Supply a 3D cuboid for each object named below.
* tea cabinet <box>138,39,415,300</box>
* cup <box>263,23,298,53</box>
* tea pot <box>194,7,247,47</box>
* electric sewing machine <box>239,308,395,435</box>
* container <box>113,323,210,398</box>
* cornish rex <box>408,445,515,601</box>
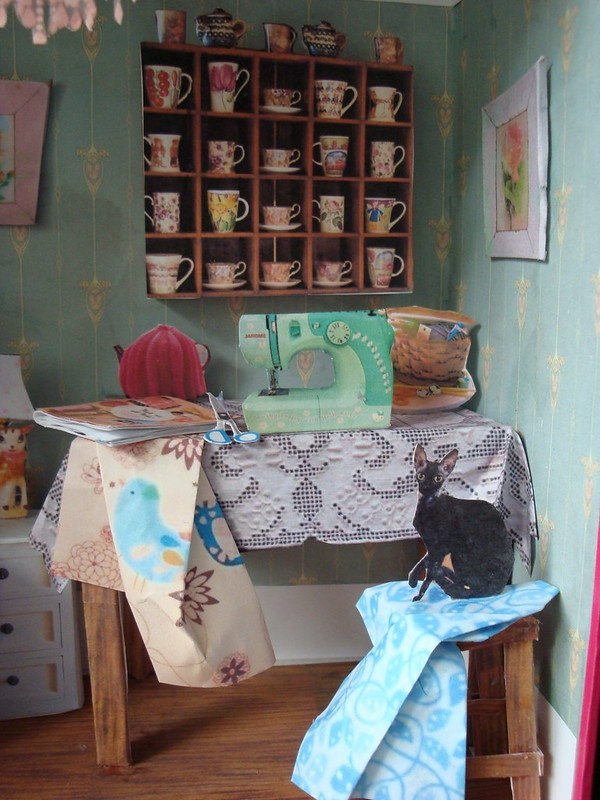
[{"bbox_3d":[-0.053,-0.712,2.307,0.748,0.779,0.202,-6,20,-19],"label":"tea cabinet"},{"bbox_3d":[-0.057,-1.048,2.183,0.105,0.085,0.078,-11,38,-17],"label":"cup"},{"bbox_3d":[-0.226,-1.051,2.144,0.134,0.093,0.100,-15,38,-29],"label":"tea pot"},{"bbox_3d":[0.035,-0.083,1.940,0.401,0.307,0.150,-2,10,-7],"label":"electric sewing machine"},{"bbox_3d":[-0.390,-0.105,2.187,0.250,0.218,0.118,-2,9,-18],"label":"container"},{"bbox_3d":[0.380,0.286,1.829,0.248,0.371,0.113,0,1,-7],"label":"cornish rex"}]
